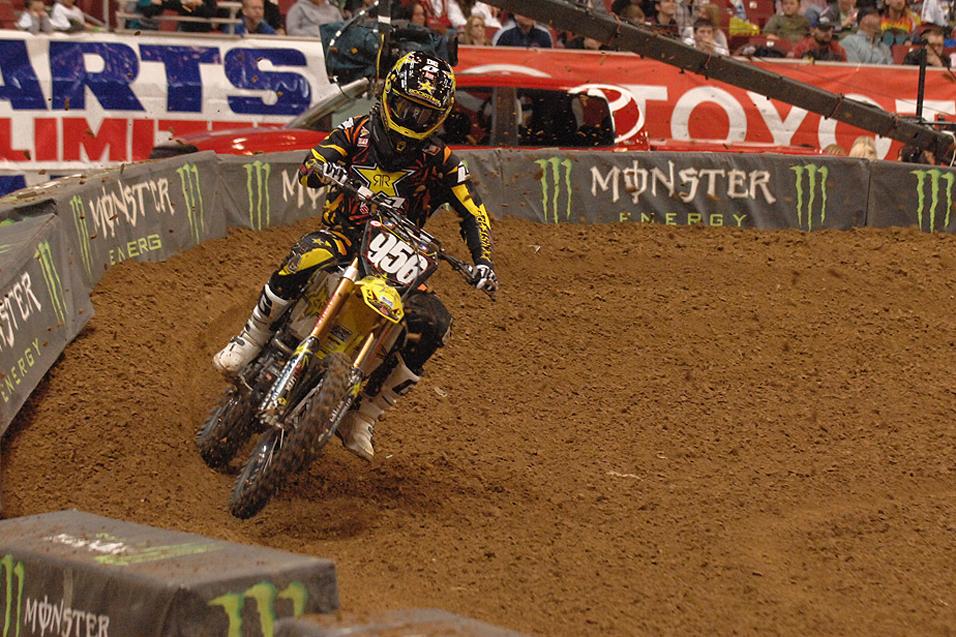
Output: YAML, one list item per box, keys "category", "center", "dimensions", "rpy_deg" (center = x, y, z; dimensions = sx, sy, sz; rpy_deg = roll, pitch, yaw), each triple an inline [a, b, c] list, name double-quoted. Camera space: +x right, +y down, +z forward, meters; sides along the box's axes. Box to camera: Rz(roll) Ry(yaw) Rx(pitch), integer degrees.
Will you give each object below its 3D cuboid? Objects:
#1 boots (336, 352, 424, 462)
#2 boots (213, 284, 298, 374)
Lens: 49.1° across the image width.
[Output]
- category: "boots"
  center: [-0.858, 0.738, 8.246]
  dimensions: [0.725, 0.957, 0.329]
  rpy_deg: [-4, 29, 24]
- category: "boots"
  center: [-1.746, 0.063, 8.047]
  dimensions: [0.302, 0.587, 0.856]
  rpy_deg: [28, 26, 0]
